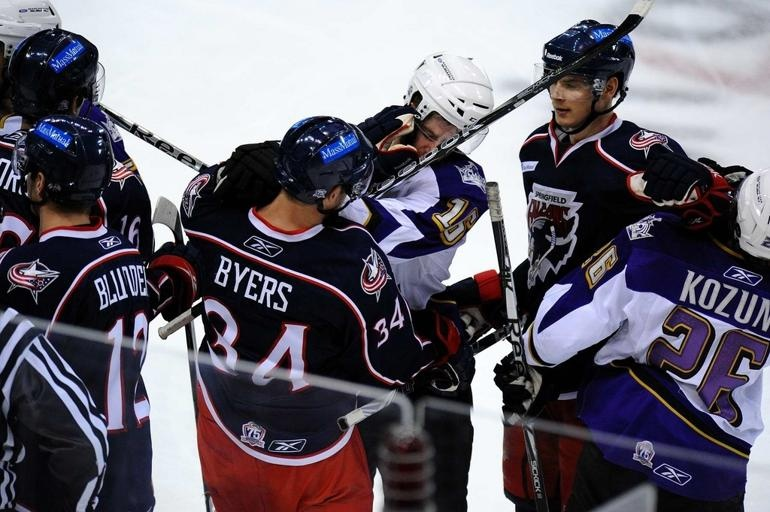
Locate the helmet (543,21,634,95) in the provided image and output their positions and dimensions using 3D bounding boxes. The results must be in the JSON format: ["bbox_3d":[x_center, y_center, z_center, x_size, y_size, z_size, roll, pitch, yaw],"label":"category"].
[{"bbox_3d":[1.102,-1.036,4.882,0.441,0.412,0.348,-5,14,-12],"label":"helmet"}]

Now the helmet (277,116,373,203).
[{"bbox_3d":[-0.261,-0.418,4.036,0.408,0.333,0.308,-21,52,-24],"label":"helmet"}]

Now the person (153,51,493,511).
[{"bbox_3d":[-0.274,0.152,4.335,1.043,2.872,1.209,-15,37,-20],"label":"person"}]

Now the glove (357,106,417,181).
[{"bbox_3d":[0.016,-0.539,4.553,0.293,0.309,0.226,24,4,-40],"label":"glove"}]

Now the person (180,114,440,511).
[{"bbox_3d":[-0.370,0.262,3.997,1.079,1.675,0.692,6,-15,15],"label":"person"}]

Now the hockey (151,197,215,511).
[{"bbox_3d":[-0.920,0.463,4.798,0.241,1.589,0.421,-6,6,0],"label":"hockey"}]
